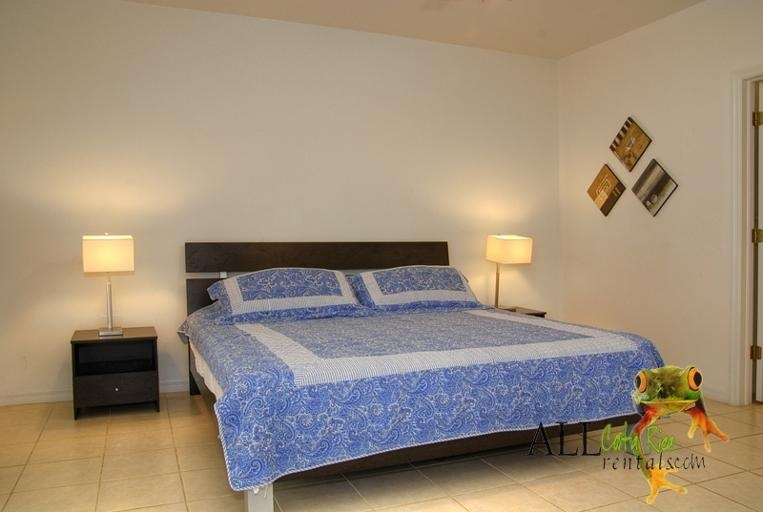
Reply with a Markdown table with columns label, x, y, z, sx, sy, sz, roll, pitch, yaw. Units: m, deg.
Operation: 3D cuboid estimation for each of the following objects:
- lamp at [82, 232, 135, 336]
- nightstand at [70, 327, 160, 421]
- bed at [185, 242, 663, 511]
| label | x | y | z | sx | sy | sz | roll | pitch | yaw |
| --- | --- | --- | --- | --- | --- | --- | --- | --- | --- |
| lamp | -2.327 | 0.250 | 4.749 | 0.415 | 0.842 | 0.531 | -5 | 11 | -24 |
| nightstand | -2.257 | 1.018 | 4.876 | 0.967 | 0.848 | 0.687 | 0 | -4 | -22 |
| bed | 0.247 | 0.651 | 4.575 | 3.433 | 1.400 | 2.862 | -5 | 10 | -25 |
